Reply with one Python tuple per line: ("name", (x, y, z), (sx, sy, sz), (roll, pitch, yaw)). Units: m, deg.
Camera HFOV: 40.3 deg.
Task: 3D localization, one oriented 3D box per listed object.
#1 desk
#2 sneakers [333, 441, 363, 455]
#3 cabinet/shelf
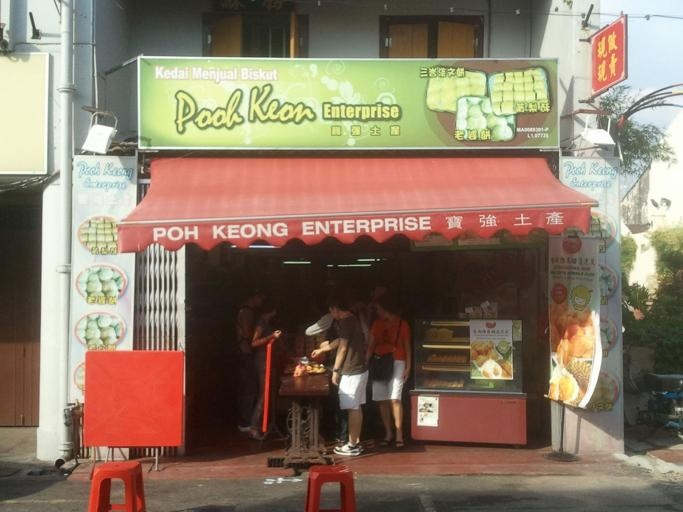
("desk", (-0.533, 2.592, 14.497), (0.769, 1.335, 1.100), (-1, 11, -2))
("sneakers", (0.124, 3.071, 14.797), (0.443, 0.208, 0.182), (3, -6, 5))
("cabinet/shelf", (2.063, 2.058, 16.052), (2.078, 2.008, 1.652), (-1, 6, -2))
